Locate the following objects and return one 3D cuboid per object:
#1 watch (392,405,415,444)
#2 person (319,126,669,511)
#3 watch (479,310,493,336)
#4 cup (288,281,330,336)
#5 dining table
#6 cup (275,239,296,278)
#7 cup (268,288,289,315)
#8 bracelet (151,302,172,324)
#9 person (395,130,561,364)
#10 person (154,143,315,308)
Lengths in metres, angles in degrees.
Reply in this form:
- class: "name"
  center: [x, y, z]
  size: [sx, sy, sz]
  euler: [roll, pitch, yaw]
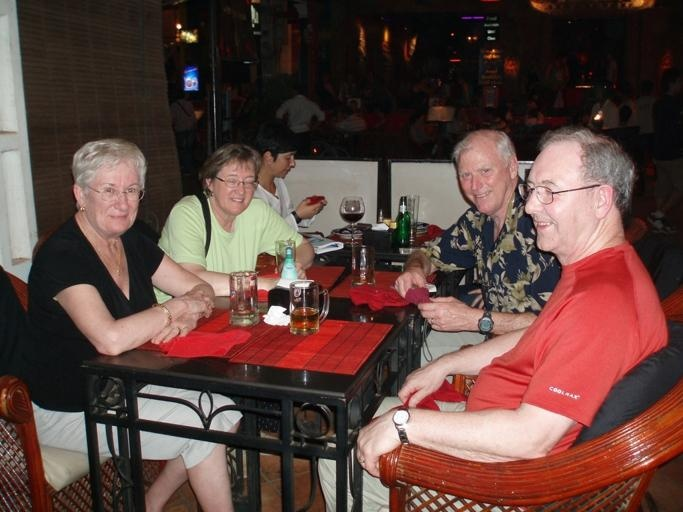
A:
- class: "watch"
  center: [0.164, 0.463, 1.496]
  size: [0.054, 0.086, 0.086]
  euler: [-2, 36, 8]
- class: "person"
  center: [0.548, 0.050, 2.278]
  size: [1.164, 1.730, 0.968]
  euler: [7, 9, 24]
- class: "watch"
  center: [0.599, 0.290, 2.287]
  size: [0.060, 0.092, 0.087]
  euler: [3, 10, 10]
- class: "cup"
  center: [-0.124, 0.175, 1.912]
  size: [0.203, 0.199, 0.119]
  euler: [1, 8, -4]
- class: "dining table"
  center: [-0.247, 0.478, 1.862]
  size: [0.694, 0.501, 1.023]
  euler: [4, 15, 14]
- class: "cup"
  center: [-0.265, 0.015, 2.460]
  size: [0.122, 0.188, 0.151]
  euler: [0, -2, 2]
- class: "cup"
  center: [-0.244, 0.176, 2.140]
  size: [0.089, 0.098, 0.087]
  euler: [1, 5, 0]
- class: "bracelet"
  center: [-0.632, 0.199, 1.931]
  size: [0.018, 0.067, 0.062]
  euler: [-28, 59, -18]
- class: "person"
  center: [0.638, -0.006, 2.573]
  size: [0.849, 1.076, 0.716]
  euler: [-8, 21, 3]
- class: "person"
  center: [-0.541, -0.086, 2.738]
  size: [0.836, 0.896, 0.754]
  euler: [6, 24, -9]
